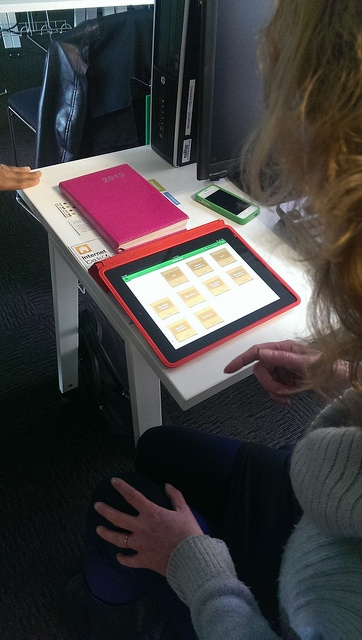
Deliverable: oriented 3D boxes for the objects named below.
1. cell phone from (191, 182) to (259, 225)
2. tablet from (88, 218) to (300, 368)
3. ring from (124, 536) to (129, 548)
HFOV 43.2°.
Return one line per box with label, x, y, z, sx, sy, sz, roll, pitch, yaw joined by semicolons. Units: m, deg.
cell phone;0.115;-0.279;1.097;0.078;0.021;0.156;-34;58;-25
tablet;0.031;-0.055;0.871;0.288;0.077;0.233;-25;52;-27
ring;-0.093;0.381;0.785;0.010;0.015;0.003;-4;7;-40
